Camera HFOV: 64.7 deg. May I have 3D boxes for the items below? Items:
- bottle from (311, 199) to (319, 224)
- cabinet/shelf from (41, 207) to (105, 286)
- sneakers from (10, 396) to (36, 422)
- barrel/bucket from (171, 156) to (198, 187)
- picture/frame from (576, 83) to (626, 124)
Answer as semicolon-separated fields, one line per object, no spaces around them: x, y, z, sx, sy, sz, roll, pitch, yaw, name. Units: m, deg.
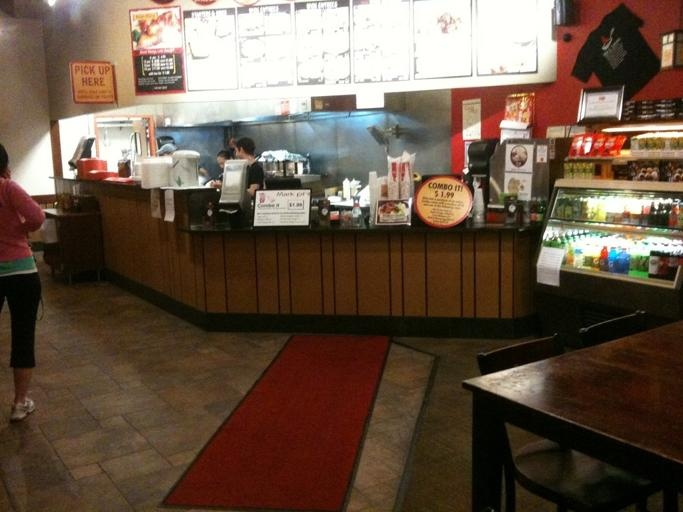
-0.284;-0.459;5.542;0.098;0.247;0.303;-3;12;-4;bottle
-4.275;-0.154;8.388;1.217;1.015;0.673;7;11;42;cabinet/shelf
-2.347;1.118;3.975;0.068;0.076;0.177;4;18;2;sneakers
-1.802;-1.018;6.421;0.297;0.453;0.315;3;12;-1;barrel/bucket
2.438;-1.431;5.080;0.380;0.328;0.170;5;14;31;picture/frame
